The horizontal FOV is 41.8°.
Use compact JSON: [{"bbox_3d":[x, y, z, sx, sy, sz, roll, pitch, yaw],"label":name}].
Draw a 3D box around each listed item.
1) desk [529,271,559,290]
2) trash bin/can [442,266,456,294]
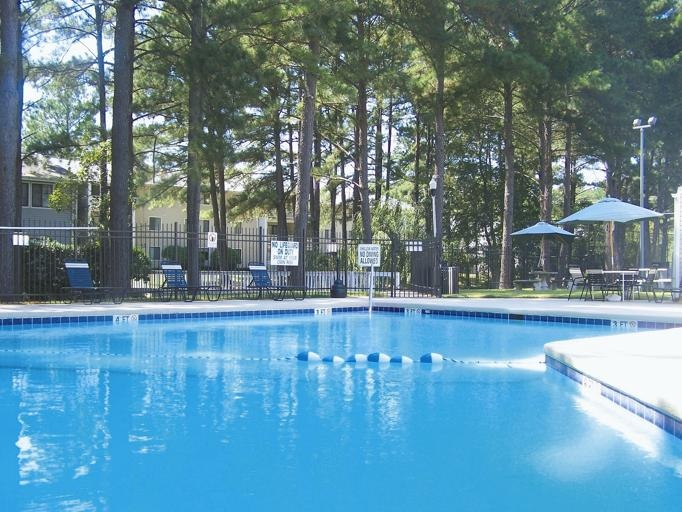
[{"bbox_3d":[8.187,0.965,35.872,0.968,0.651,1.083,-2,3,-12],"label":"desk"},{"bbox_3d":[3.816,0.841,31.496,0.613,0.967,0.458,0,-2,-14],"label":"trash bin/can"}]
